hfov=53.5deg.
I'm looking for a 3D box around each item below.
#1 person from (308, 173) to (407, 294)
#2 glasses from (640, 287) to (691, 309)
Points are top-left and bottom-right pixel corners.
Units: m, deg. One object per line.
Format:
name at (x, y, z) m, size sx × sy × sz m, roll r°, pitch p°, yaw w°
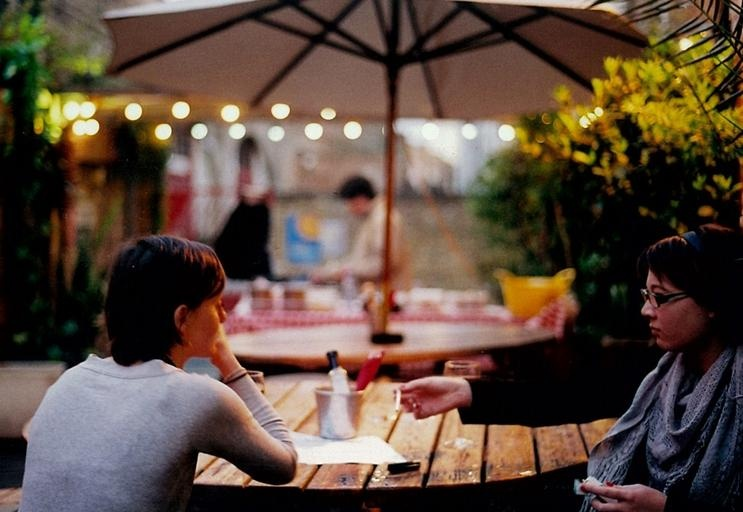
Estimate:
person at (-0.003, -0.138, 5.539) m, size 0.766 × 1.287 × 0.768 m, roll 1°, pitch -7°, yaw 1°
glasses at (1.007, 0.144, 2.574) m, size 0.068 × 0.069 × 0.182 m, roll -6°, pitch 13°, yaw -36°
